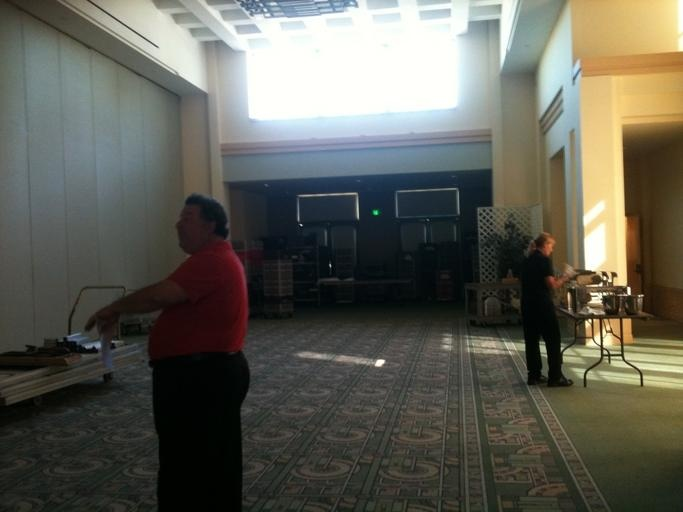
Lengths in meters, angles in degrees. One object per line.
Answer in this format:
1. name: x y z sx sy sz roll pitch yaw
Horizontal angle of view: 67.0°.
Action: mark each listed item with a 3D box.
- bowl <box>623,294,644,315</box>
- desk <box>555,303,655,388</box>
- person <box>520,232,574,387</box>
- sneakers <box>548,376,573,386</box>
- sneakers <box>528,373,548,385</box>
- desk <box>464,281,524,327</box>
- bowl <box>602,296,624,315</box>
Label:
1. bowl: 3.339 0.548 5.919 0.179 0.234 0.221 1 3 33
2. desk: 3.551 1.165 7.192 0.981 0.858 1.835 0 0 8
3. person: 2.398 0.629 6.105 0.571 1.796 0.427 0 3 29
4. sneakers: 2.567 1.485 6.127 0.296 0.119 0.117 -2 0 -1
5. sneakers: 2.315 1.473 6.209 0.287 0.107 0.093 -2 7 -7
6. desk: 3.156 0.971 10.771 1.023 0.799 0.992 -2 4 2
7. bowl: 3.089 0.565 5.949 0.220 0.206 0.212 1 -7 0
